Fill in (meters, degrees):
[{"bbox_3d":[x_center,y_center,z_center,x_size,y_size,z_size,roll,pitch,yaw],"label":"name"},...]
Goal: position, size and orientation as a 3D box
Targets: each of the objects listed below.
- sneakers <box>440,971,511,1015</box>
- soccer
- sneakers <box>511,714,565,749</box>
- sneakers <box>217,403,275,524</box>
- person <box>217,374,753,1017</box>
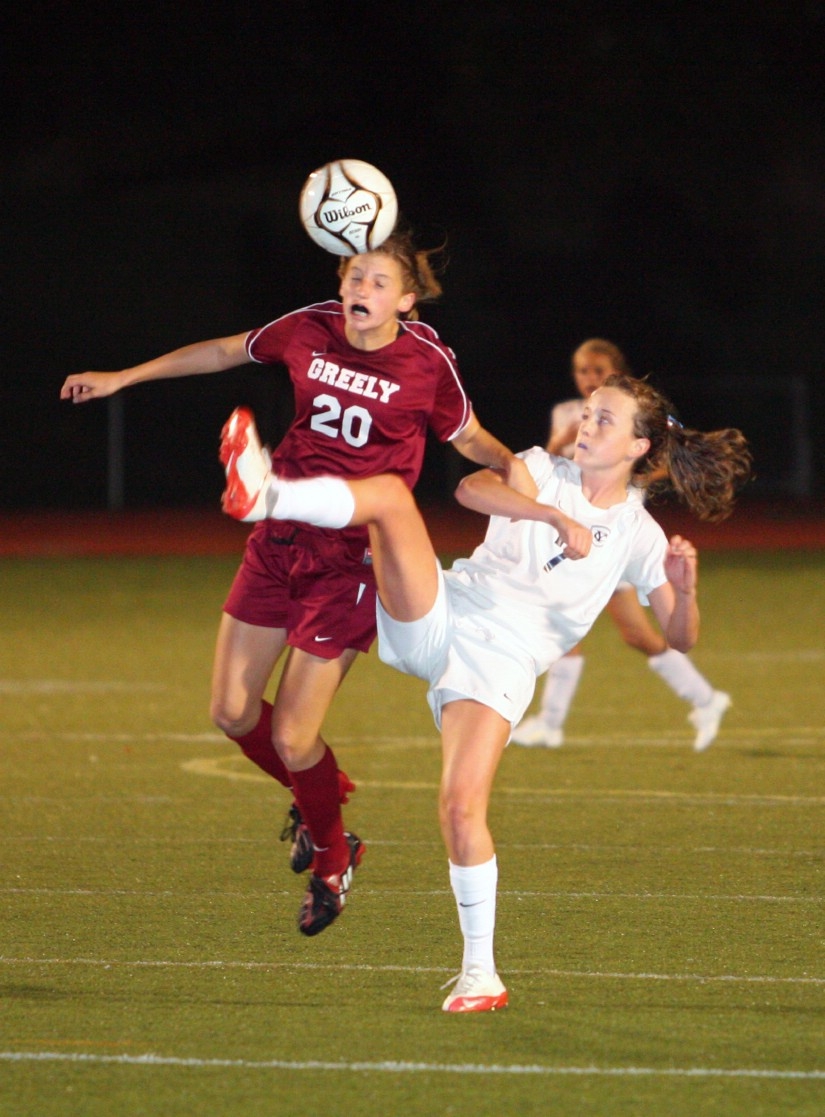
[{"bbox_3d":[0.148,1.027,3.118,0.214,0.076,0.067,-1,-2,-11],"label":"sneakers"},{"bbox_3d":[-0.163,-1.069,4.089,0.396,0.294,0.193,0,-4,15],"label":"soccer"},{"bbox_3d":[0.574,0.853,6.325,0.275,0.099,0.119,3,-3,-20],"label":"sneakers"},{"bbox_3d":[-0.428,-0.239,3.306,0.137,0.272,0.141,1,-2,-16],"label":"sneakers"},{"bbox_3d":[0.260,0.263,3.708,0.901,1.553,1.424,7,8,32],"label":"person"}]
